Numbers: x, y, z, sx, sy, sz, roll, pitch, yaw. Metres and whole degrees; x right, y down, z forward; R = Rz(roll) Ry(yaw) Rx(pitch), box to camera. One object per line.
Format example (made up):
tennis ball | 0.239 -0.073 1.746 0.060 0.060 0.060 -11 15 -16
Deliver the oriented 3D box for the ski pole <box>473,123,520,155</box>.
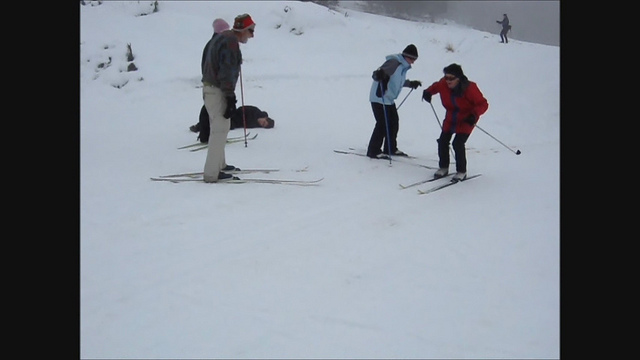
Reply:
ski pole | 1.687 -0.388 6.976 0.506 0.090 0.031 26 33 4

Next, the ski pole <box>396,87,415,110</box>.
ski pole | 0.807 -0.781 7.034 0.026 0.247 0.026 36 -2 -29

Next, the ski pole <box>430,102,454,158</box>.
ski pole | 1.171 -0.479 6.984 0.042 0.009 0.582 -22 85 -51

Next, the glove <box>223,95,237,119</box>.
glove | -0.859 -0.699 6.921 0.143 0.187 0.069 9 18 31
